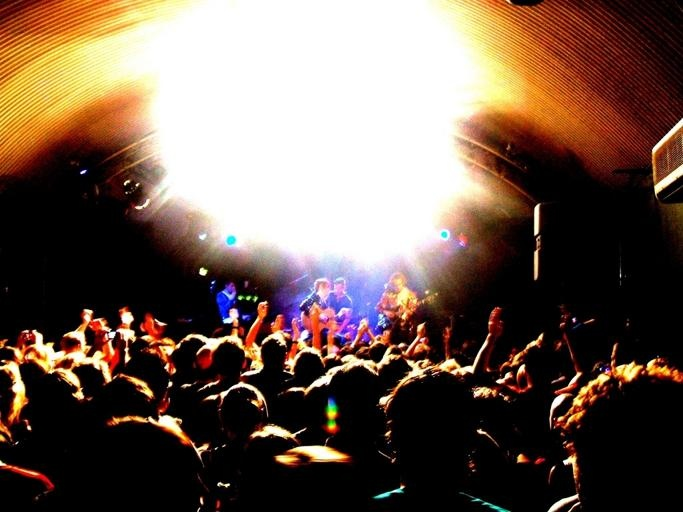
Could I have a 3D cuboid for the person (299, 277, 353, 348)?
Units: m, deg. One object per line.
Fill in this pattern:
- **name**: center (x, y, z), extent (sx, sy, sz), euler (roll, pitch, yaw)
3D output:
- **person**: center (-0.382, 0.945, 8.822), extent (0.722, 1.181, 0.506), euler (12, 3, -36)
